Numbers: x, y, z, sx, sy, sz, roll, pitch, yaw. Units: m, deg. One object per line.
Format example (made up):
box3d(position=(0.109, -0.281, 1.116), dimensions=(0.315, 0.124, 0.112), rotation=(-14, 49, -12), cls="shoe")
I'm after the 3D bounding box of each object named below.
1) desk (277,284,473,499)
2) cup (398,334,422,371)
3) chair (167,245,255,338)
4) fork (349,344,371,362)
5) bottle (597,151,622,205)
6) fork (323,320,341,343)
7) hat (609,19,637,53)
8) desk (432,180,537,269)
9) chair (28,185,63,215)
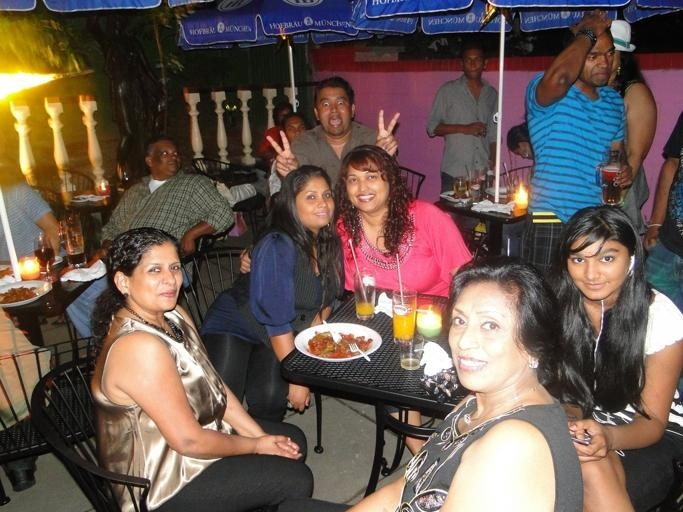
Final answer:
box3d(position=(0.209, 0.780, 3.157), dimensions=(1.160, 1.159, 1.203), rotation=(10, 29, 22), cls="desk")
box3d(position=(0.365, 0.504, 2.607), dimensions=(0.125, 0.158, 0.119), rotation=(-2, 14, 1), cls="cup")
box3d(position=(-0.983, 0.273, 3.725), dimensions=(0.496, 0.620, 0.436), rotation=(-29, 53, -33), cls="chair")
box3d(position=(0.089, 0.525, 2.736), dimensions=(0.042, 0.032, 0.213), rotation=(-22, 27, -9), cls="fork")
box3d(position=(1.925, -0.563, 3.573), dimensions=(0.142, 0.370, 0.262), rotation=(2, 15, 19), cls="bottle")
box3d(position=(-0.067, 0.450, 2.951), dimensions=(0.043, 0.040, 0.252), rotation=(7, 21, -23), cls="fork")
box3d(position=(2.121, -1.690, 3.776), dimensions=(0.164, 0.257, 0.486), rotation=(5, 16, 28), cls="hat")
box3d(position=(1.491, -0.238, 5.486), dimensions=(1.022, 1.036, 0.904), rotation=(16, 38, 21), cls="desk")
box3d(position=(-3.435, -0.641, 5.870), dimensions=(0.237, 0.355, 0.978), rotation=(-11, 16, -30), cls="chair")
